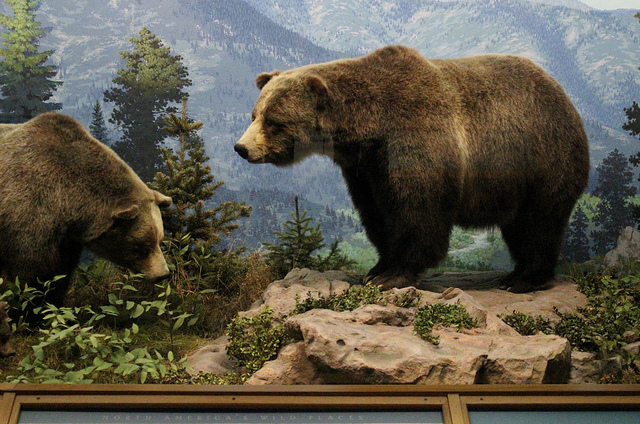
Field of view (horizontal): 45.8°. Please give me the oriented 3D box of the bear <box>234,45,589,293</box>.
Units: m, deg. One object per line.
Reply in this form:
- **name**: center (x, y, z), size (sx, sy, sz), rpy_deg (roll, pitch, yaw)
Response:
- **bear**: center (1.354, -0.779, 10.596), size (5.011, 3.250, 2.256), rpy_deg (-2, 1, -3)
